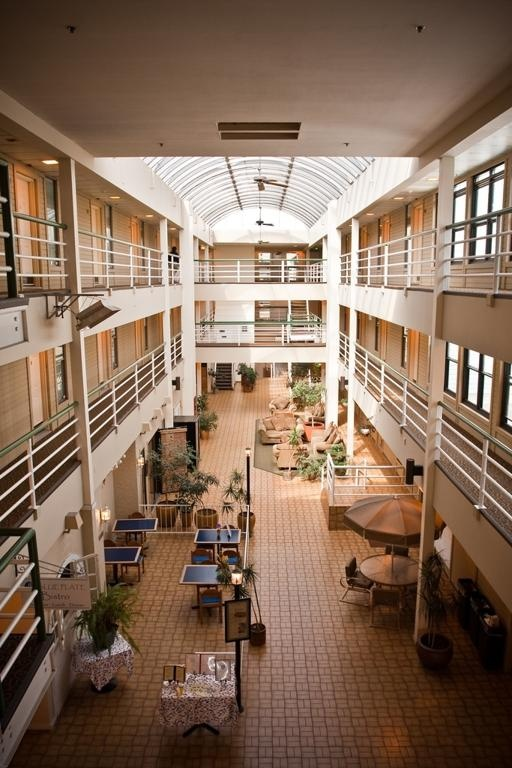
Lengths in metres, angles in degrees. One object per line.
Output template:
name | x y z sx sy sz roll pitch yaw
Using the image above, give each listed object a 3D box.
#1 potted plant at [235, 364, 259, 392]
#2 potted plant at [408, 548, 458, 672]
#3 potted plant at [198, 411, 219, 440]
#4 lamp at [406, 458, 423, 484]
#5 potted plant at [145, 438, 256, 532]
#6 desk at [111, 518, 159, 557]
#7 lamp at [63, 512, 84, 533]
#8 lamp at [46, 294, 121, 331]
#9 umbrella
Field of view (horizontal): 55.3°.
potted plant | -0.575 -0.422 31.004 0.994 1.721 1.504 0 5 -2
potted plant | 2.938 3.424 7.985 0.552 1.820 1.910 2 5 21
potted plant | -2.131 1.726 21.168 1.085 1.312 0.946 0 6 -11
lamp | 2.480 1.390 7.651 0.245 0.453 0.382 1 5 16
potted plant | -2.143 3.127 13.979 2.205 2.141 2.440 4 9 -2
desk | -2.824 3.549 11.605 0.853 0.625 0.925 -1 20 -1
lamp | -2.405 1.789 6.462 0.225 0.293 0.317 -1 6 -4
lamp | -2.188 -0.918 6.271 0.589 0.352 0.478 8 16 -6
umbrella | 2.289 2.377 8.757 1.345 1.040 1.408 -3 18 0
